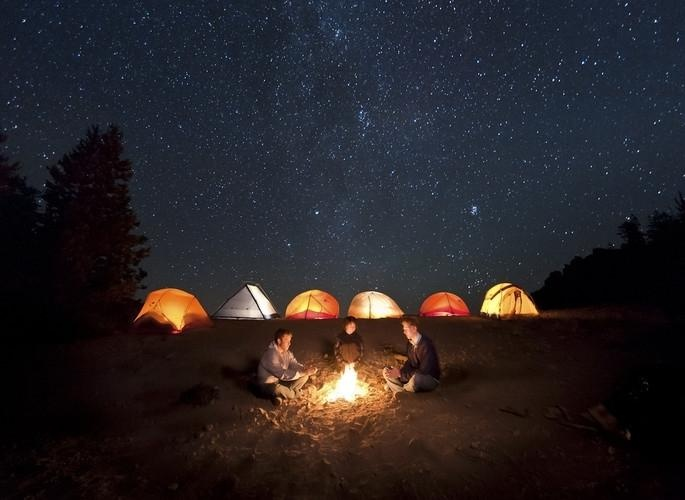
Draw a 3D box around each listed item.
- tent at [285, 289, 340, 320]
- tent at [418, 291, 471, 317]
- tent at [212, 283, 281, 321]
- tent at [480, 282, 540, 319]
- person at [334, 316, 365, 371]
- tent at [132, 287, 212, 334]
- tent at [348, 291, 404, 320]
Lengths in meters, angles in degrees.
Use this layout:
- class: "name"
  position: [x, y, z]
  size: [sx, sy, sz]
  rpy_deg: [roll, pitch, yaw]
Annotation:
- class: "tent"
  position: [-1.473, 2.715, 24.761]
  size: [2.457, 1.499, 1.631]
  rpy_deg: [0, -10, -7]
- class: "tent"
  position: [5.174, 2.797, 25.585]
  size: [2.322, 1.289, 1.143]
  rpy_deg: [-6, -11, 24]
- class: "tent"
  position: [-4.664, 2.525, 24.532]
  size: [2.741, 1.924, 1.369]
  rpy_deg: [0, -10, -11]
- class: "tent"
  position: [7.557, 2.463, 22.723]
  size: [2.581, 2.044, 2.815]
  rpy_deg: [0, -2, 2]
- class: "person"
  position: [0.195, 3.044, 16.242]
  size: [0.866, 1.690, 0.916]
  rpy_deg: [-1, -9, -2]
- class: "tent"
  position: [-6.829, 2.599, 19.984]
  size: [2.492, 1.833, 2.648]
  rpy_deg: [3, -8, -19]
- class: "tent"
  position: [1.553, 2.714, 24.842]
  size: [2.333, 1.349, 1.196]
  rpy_deg: [-2, -10, 3]
